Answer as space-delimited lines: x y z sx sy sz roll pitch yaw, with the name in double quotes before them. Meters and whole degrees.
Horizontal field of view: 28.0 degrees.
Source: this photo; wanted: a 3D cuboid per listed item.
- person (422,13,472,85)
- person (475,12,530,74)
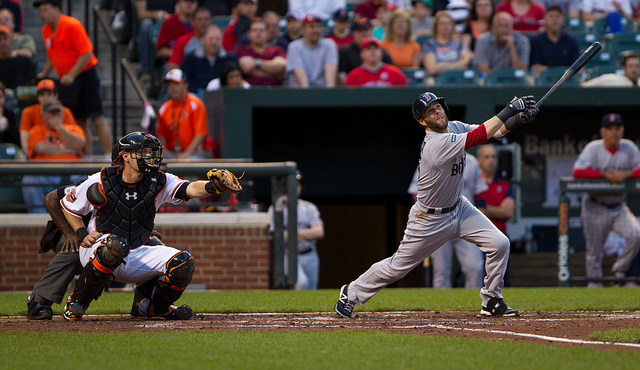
"person" 2.432 -2.638 24.671 1.018 1.335 0.762 -7 20 -15
"person" 3.507 -2.503 24.584 1.120 1.549 0.956 4 7 11
